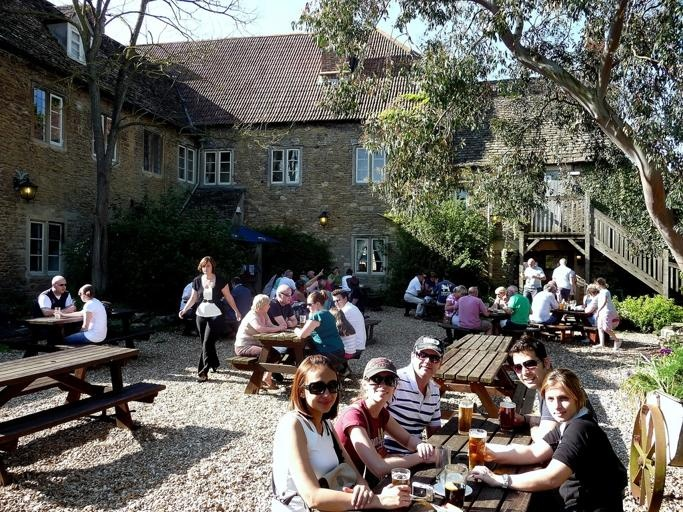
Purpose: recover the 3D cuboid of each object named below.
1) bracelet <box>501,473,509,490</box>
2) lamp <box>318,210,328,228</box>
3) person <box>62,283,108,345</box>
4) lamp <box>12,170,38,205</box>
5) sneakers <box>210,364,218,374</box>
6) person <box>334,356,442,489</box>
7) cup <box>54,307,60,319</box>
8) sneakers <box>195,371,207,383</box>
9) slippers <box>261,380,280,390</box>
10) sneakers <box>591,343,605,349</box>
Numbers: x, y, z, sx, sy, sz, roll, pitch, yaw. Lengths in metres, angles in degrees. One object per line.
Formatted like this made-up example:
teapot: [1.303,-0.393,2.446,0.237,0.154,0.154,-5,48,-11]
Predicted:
bracelet: [1.286,1.770,4.455,0.052,0.086,0.085,3,-30,8]
lamp: [-0.650,-1.445,21.647,0.497,0.625,0.467,-2,-10,16]
person: [-4.203,0.947,9.446,0.624,0.921,0.547,1,6,9]
lamp: [-8.012,-1.795,14.471,0.493,0.797,0.488,-1,5,-17]
sneakers: [-2.160,1.948,9.710,0.194,0.100,0.208,-2,6,-21]
person: [0.277,1.370,5.039,1.026,1.072,0.790,-2,1,31]
cup: [-4.816,0.971,9.639,0.108,0.183,0.108,1,-11,0]
sneakers: [-2.285,1.983,9.351,0.086,0.194,0.273,0,-2,3]
slippers: [-1.146,2.051,9.033,0.327,0.140,0.113,-1,-3,33]
sneakers: [5.731,2.022,12.717,0.269,0.122,0.131,3,-3,17]
